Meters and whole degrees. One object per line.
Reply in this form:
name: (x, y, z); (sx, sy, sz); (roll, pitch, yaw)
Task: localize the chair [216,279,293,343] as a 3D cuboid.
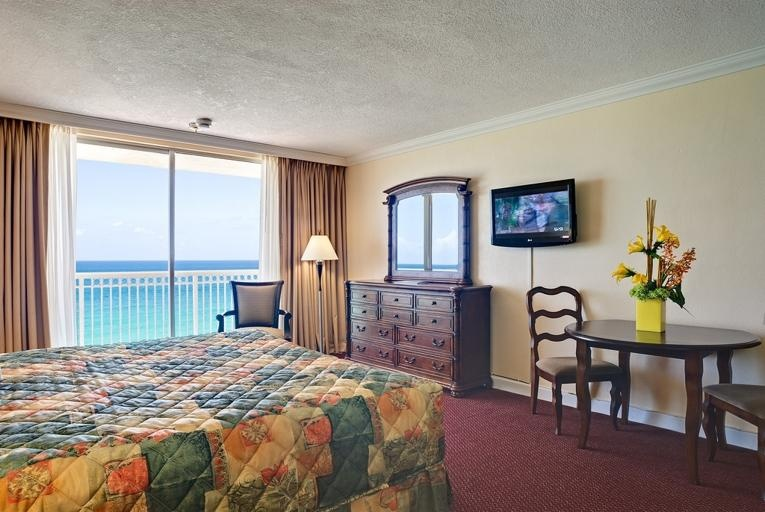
chair: (-1.526, 0.822, 6.094); (0.881, 0.979, 0.741); (0, -1, -28)

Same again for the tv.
tv: (1.636, -0.454, 5.380); (0.836, 0.564, 0.091); (-3, -2, 44)

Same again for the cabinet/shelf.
cabinet/shelf: (0.400, 0.919, 6.356); (0.804, 1.135, 1.986); (-2, 3, -41)

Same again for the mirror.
mirror: (0.607, -0.310, 6.334); (1.502, 1.310, 0.216); (-3, -5, 44)

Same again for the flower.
flower: (2.391, 0.001, 4.533); (0.662, 0.993, 0.702); (6, 16, 30)
